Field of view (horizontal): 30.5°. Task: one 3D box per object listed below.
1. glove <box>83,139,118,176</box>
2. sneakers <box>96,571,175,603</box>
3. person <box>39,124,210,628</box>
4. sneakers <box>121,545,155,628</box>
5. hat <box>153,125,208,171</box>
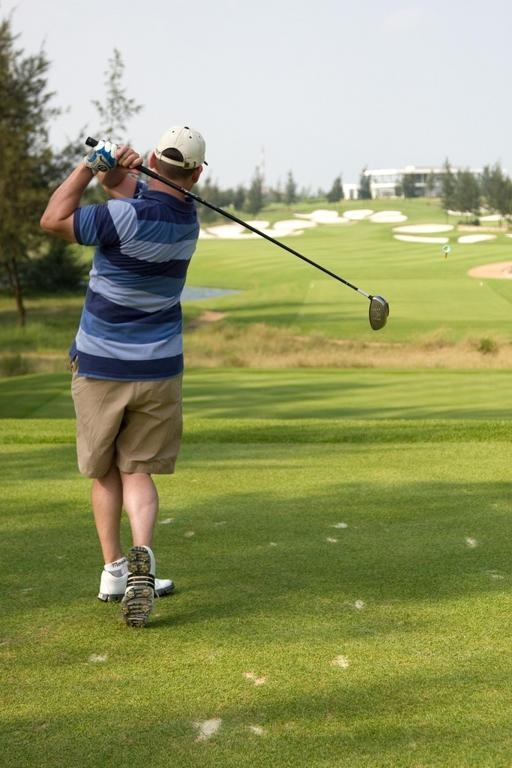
[{"bbox_3d":[-0.463,-0.688,2.858,0.093,0.103,0.156,0,8,-2],"label":"glove"},{"bbox_3d":[-0.354,0.621,2.920,0.265,0.099,0.085,0,2,-14],"label":"sneakers"},{"bbox_3d":[-0.409,-0.061,2.856,0.475,1.433,0.726,1,9,2],"label":"person"},{"bbox_3d":[-0.323,0.570,2.640,0.086,0.210,0.103,-2,-27,5],"label":"sneakers"},{"bbox_3d":[-0.232,-0.729,2.899,0.155,0.142,0.167,0,8,-5],"label":"hat"}]
